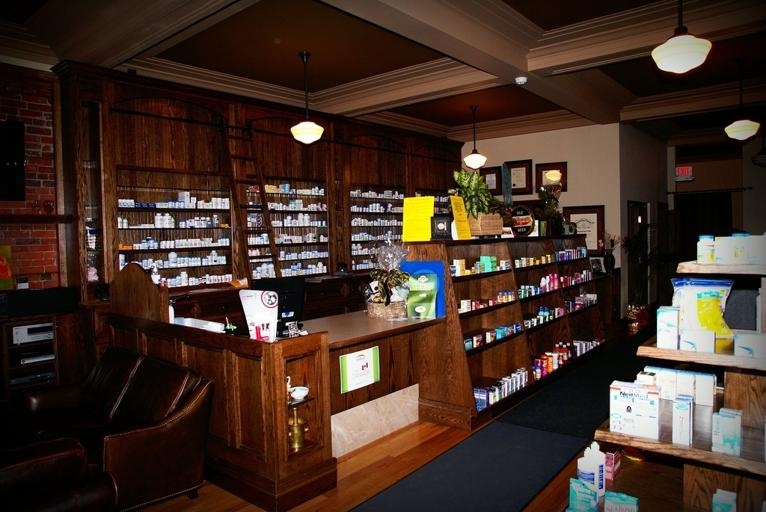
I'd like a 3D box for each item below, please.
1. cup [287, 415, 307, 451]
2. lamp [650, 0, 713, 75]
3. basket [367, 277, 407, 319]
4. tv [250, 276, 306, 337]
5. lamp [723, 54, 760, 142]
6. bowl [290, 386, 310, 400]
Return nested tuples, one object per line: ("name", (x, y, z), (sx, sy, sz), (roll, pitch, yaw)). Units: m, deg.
("cup", (-0.775, 1.578, 4.595), (0.141, 0.301, 0.278), (-2, 6, 7))
("lamp", (3.107, -2.305, 5.201), (0.421, 0.685, 0.358), (-3, 6, -6))
("basket", (0.045, 0.466, 5.613), (0.411, 0.294, 0.408), (0, 0, -21))
("tv", (-1.060, 0.514, 5.070), (0.163, 0.504, 0.500), (4, 5, 31))
("lamp", (6.293, -2.597, 8.724), (0.433, 1.185, 2.212), (2, 8, 37))
("bowl", (-0.755, 1.221, 4.487), (0.121, 0.076, 0.123), (2, -9, 0))
